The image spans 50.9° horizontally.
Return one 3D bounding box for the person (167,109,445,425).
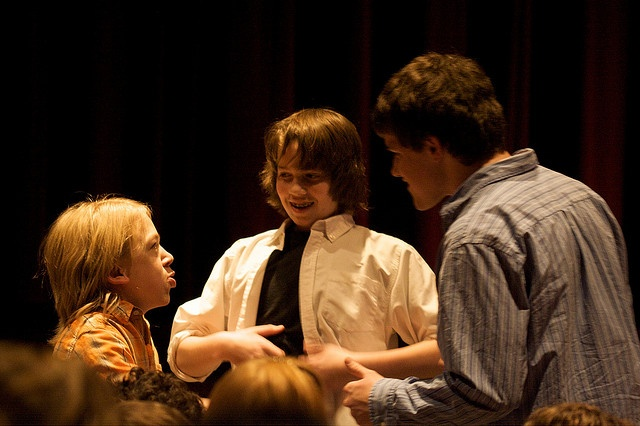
[{"bbox_3d":[-0.011,0.170,2.053,0.831,1.087,0.570,-10,-30,28],"label":"person"}]
